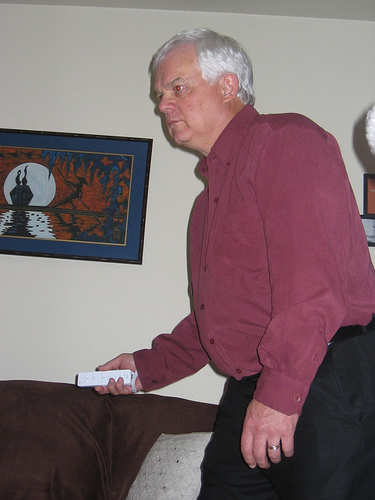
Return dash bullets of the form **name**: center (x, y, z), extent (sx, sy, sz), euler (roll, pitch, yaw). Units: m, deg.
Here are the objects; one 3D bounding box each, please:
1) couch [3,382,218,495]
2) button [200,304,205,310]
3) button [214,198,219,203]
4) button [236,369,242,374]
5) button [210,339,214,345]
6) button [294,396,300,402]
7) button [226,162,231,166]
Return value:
- **couch**: center (-0.319, 0.853, 2.035), extent (1.064, 0.428, 0.351), euler (2, -32, 4)
- **button**: center (0.035, 0.130, 1.152), extent (0.002, 0.008, 0.009), euler (14, -40, -43)
- **button**: center (0.066, -0.114, 1.139), extent (0.005, 0.011, 0.019), euler (5, 7, -14)
- **button**: center (0.112, 0.265, 1.085), extent (0.009, 0.009, 0.002), euler (33, 6, 13)
- **button**: center (0.056, 0.208, 1.127), extent (0.004, 0.014, 0.013), euler (2, 8, -30)
- **button**: center (0.188, 0.255, 0.858), extent (0.010, 0.009, 0.002), euler (-6, -11, 7)
- **button**: center (0.093, -0.195, 1.128), extent (0.008, 0.003, 0.007), euler (-18, 27, -19)
